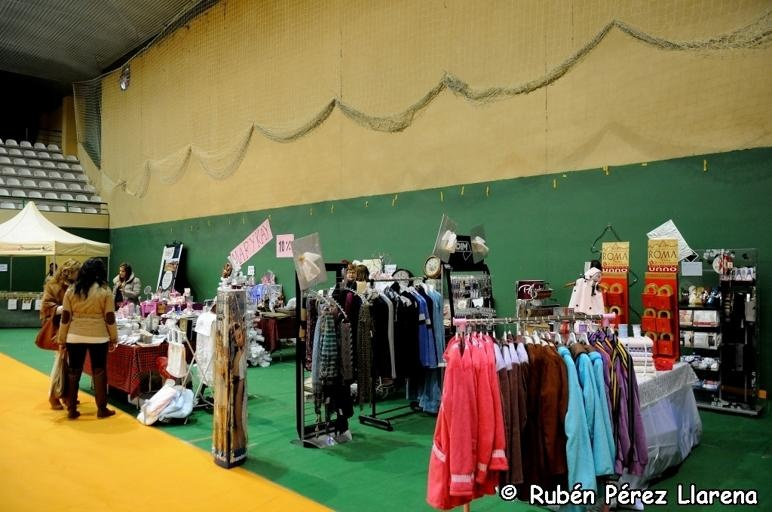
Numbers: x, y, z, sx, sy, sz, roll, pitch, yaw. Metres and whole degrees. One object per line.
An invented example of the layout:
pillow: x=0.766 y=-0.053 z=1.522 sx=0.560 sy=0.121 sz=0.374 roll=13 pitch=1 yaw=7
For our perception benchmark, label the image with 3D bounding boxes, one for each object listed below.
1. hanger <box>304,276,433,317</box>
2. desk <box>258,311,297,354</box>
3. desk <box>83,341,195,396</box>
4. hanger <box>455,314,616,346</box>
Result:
hanger: x=-0.321 y=0.560 z=7.822 sx=1.844 sy=0.495 sz=0.720 roll=4 pitch=-8 yaw=-30
desk: x=-2.382 y=1.436 z=11.309 sx=0.959 sy=0.465 sz=0.981 roll=8 pitch=1 yaw=-19
desk: x=-3.691 y=1.617 z=8.335 sx=0.918 sy=0.496 sz=0.952 roll=-7 pitch=-12 yaw=40
hanger: x=1.519 y=0.776 z=6.115 sx=1.735 sy=0.289 sz=0.772 roll=2 pitch=-7 yaw=-18
